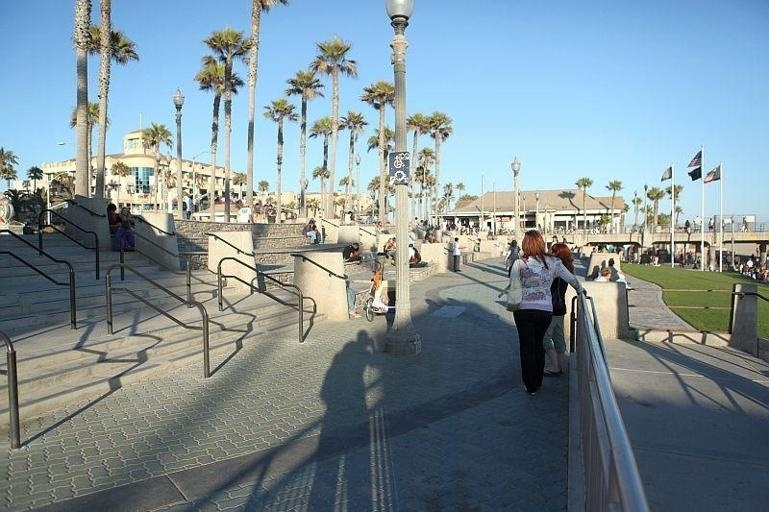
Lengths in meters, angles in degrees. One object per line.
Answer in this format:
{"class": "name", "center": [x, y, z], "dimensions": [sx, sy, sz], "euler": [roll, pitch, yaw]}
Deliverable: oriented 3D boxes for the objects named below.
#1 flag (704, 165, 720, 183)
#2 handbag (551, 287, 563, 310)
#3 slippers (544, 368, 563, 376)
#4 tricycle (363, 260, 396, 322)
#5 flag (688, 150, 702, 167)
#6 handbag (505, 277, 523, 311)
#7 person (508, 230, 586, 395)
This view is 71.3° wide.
{"class": "flag", "center": [29.509, -7.340, 48.396], "dimensions": [1.144, 1.856, 3.823], "euler": [8, 16, 30]}
{"class": "handbag", "center": [3.092, 0.776, 9.677], "dimensions": [0.184, 0.417, 0.405], "euler": [-3, 2, 8]}
{"class": "slippers", "center": [3.164, 2.165, 9.963], "dimensions": [0.399, 0.128, 0.165], "euler": [-1, -17, 23]}
{"class": "tricycle", "center": [-0.224, 0.921, 15.019], "dimensions": [0.514, 1.268, 1.304], "euler": [11, 18, 21]}
{"class": "flag", "center": [25.256, -7.843, 43.624], "dimensions": [0.753, 1.155, 3.034], "euler": [8, 16, 30]}
{"class": "handbag", "center": [2.086, 0.639, 8.725], "dimensions": [0.262, 0.474, 0.121], "euler": [3, 0, 1]}
{"class": "person", "center": [2.494, 0.972, 8.895], "dimensions": [1.087, 2.785, 0.588], "euler": [-3, 13, -12]}
